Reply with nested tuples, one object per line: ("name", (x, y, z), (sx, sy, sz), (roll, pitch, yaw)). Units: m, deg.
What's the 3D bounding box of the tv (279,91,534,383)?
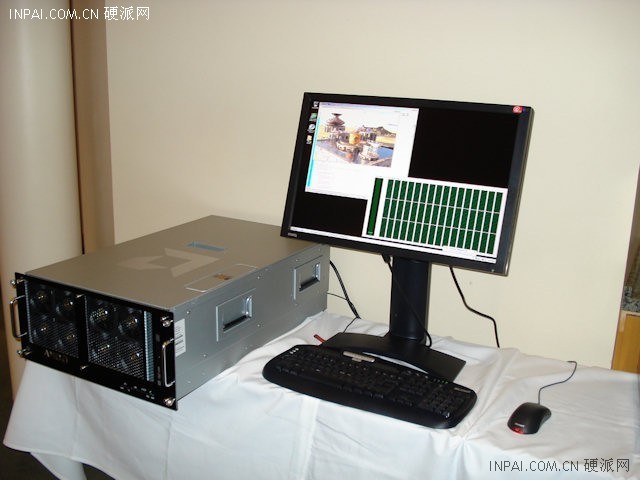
("tv", (0.274, -0.011, 1.566), (0.769, 0.851, 0.231), (8, 13, 33))
